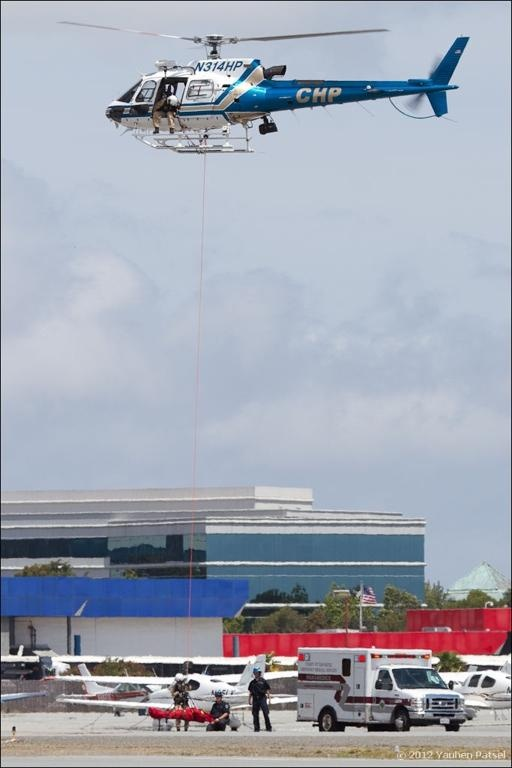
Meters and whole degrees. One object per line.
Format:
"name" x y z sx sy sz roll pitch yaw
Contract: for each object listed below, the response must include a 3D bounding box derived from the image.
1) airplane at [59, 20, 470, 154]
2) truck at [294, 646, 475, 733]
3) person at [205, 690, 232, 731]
"airplane" 0.122 -5.835 37.396 8.192 2.799 7.323 3 6 6
"truck" 2.613 5.994 37.409 2.710 1.376 1.789 -5 -8 35
"person" -0.682 6.620 38.431 0.475 0.794 1.251 3 -1 0
